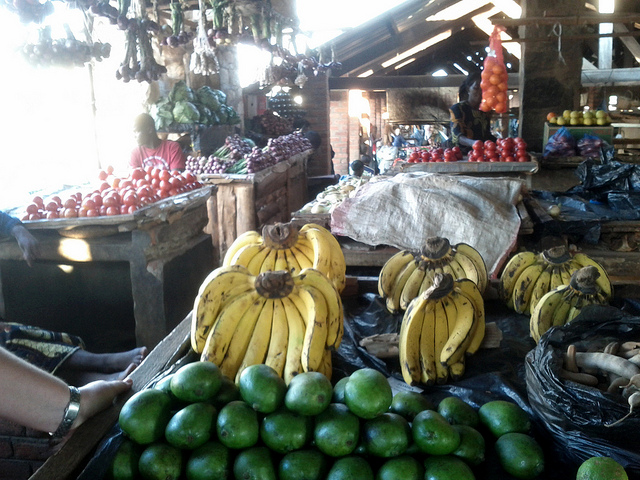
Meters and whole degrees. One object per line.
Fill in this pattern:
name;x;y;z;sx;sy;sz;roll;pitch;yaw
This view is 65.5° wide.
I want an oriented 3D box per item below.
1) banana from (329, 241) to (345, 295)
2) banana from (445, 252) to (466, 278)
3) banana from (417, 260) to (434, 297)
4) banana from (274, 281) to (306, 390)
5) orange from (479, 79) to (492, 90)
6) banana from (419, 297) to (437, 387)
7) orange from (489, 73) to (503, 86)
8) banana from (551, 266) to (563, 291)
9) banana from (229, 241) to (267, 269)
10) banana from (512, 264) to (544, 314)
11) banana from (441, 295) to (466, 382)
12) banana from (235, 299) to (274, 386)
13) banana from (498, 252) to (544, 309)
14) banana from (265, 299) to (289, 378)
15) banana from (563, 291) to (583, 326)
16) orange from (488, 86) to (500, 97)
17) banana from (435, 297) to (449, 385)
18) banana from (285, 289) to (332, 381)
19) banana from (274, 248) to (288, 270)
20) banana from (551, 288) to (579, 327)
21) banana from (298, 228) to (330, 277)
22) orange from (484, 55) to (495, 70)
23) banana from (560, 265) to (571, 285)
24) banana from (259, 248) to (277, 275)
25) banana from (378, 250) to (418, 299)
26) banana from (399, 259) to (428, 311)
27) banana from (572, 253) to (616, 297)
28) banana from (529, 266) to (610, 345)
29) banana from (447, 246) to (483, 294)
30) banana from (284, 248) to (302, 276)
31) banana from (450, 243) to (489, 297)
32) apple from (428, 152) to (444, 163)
banana;0.095;0.146;2.617;0.059;0.289;0.090;-7;8;29
banana;0.674;0.136;2.497;0.045;0.215;0.060;-17;-35;7
banana;0.545;0.184;2.529;0.055;0.240;0.076;9;-15;24
banana;-0.106;0.405;2.000;0.142;0.481;0.089;-7;-9;19
orange;1.969;-1.874;5.988;0.097;0.102;0.118;17;-51;-44
banana;0.474;0.442;2.196;0.071;0.388;0.123;-6;-23;31
orange;2.094;-1.922;6.037;0.137;0.151;0.133;-7;-8;-31
banana;1.261;0.197;2.683;0.049;0.203;0.066;-5;-35;26
banana;-0.336;0.059;2.465;0.076;0.120;0.293;-18;6;19
banana;1.097;0.258;2.714;0.071;0.244;0.160;16;-2;-15
banana;0.582;0.402;2.214;0.079;0.436;0.137;-7;2;15
banana;-0.230;0.411;2.047;0.116;0.082;0.381;-5;36;-22
banana;1.081;0.195;2.813;0.114;0.314;0.223;24;-8;3
banana;-0.167;0.404;1.999;0.060;0.329;0.105;-2;-6;6
banana;1.154;0.314;2.283;0.032;0.148;0.047;35;-8;-30
orange;2.040;-1.794;5.956;0.111;0.144;0.114;-12;28;-14
banana;0.510;0.453;2.222;0.065;0.379;0.119;0;-13;1
banana;-0.106;0.412;2.164;0.134;0.453;0.094;16;49;6
banana;-0.191;0.108;2.425;0.037;0.139;0.085;-7;-16;3
banana;1.143;0.320;2.339;0.037;0.175;0.059;31;2;6
banana;-0.018;0.057;2.463;0.064;0.214;0.170;1;-22;-23
orange;2.033;-2.186;6.081;0.092;0.178;0.124;14;-18;-10
banana;1.281;0.186;2.617;0.024;0.038;0.114;16;39;-1
banana;-0.250;0.109;2.425;0.039;0.169;0.054;21;-17;3
banana;0.452;0.198;2.599;0.140;0.073;0.268;-17;17;30
banana;0.466;0.217;2.498;0.077;0.312;0.097;26;-2;-3
banana;1.447;0.162;2.609;0.080;0.299;0.157;-24;0;-15
banana;1.147;0.310;2.292;0.200;0.323;0.221;16;23;-21
banana;0.732;0.140;2.588;0.134;0.271;0.092;-26;-11;-31
banana;-0.135;0.115;2.425;0.042;0.185;0.058;-13;-17;1
banana;0.795;0.153;2.617;0.073;0.270;0.194;-1;3;-40
apple;1.154;-0.829;4.999;0.112;0.133;0.127;7;8;32
